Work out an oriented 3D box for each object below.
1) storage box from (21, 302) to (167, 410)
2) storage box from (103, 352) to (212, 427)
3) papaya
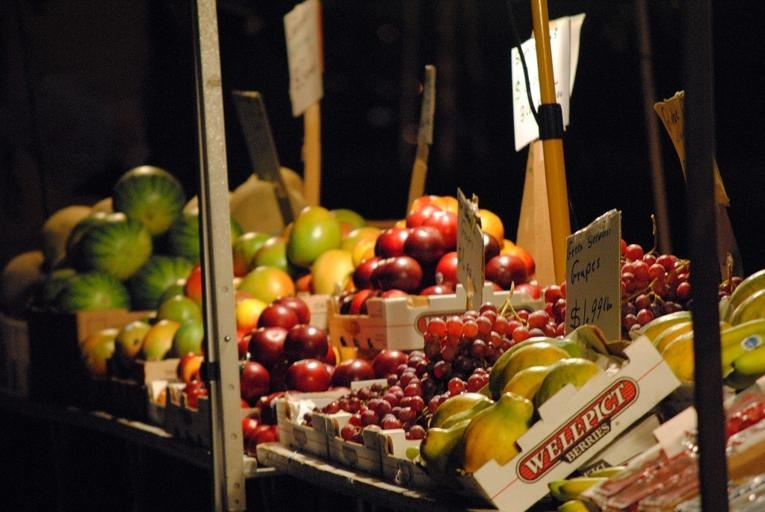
[{"bbox_3d":[-1.433,0.490,4.591,0.470,0.504,0.695,-6,3,-25],"label":"storage box"},{"bbox_3d":[-1.085,0.623,4.257,0.361,0.261,0.352,0,2,-44],"label":"storage box"},{"bbox_3d":[0.412,0.441,2.776,0.611,0.419,0.313,-4,1,-1],"label":"papaya"}]
